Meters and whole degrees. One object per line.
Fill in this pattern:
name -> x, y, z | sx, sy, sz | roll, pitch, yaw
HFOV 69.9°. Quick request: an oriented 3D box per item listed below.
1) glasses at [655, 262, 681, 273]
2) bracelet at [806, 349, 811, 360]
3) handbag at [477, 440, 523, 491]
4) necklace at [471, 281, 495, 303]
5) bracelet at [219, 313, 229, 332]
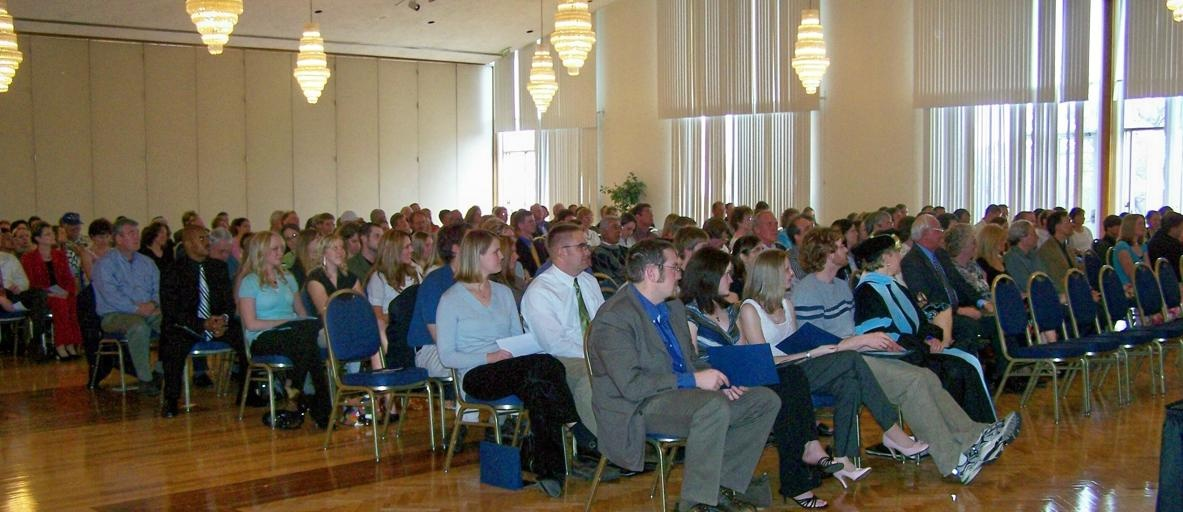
glasses -> 1.128, 0.178, 11.994 | 0.341, 0.131, 0.133 | -4, 2, -44
bracelet -> 3.162, 1.451, 12.361 | 0.113, 0.123, 0.044 | -4, 2, -30
handbag -> -1.420, 3.129, 12.471 | 0.855, 0.573, 0.254 | -6, -14, 19
necklace -> -1.626, 0.566, 12.794 | 0.293, 0.331, 0.149 | -19, 13, -34
bracelet -> -6.175, 1.155, 14.286 | 0.193, 0.223, 0.123 | 0, 6, -42
